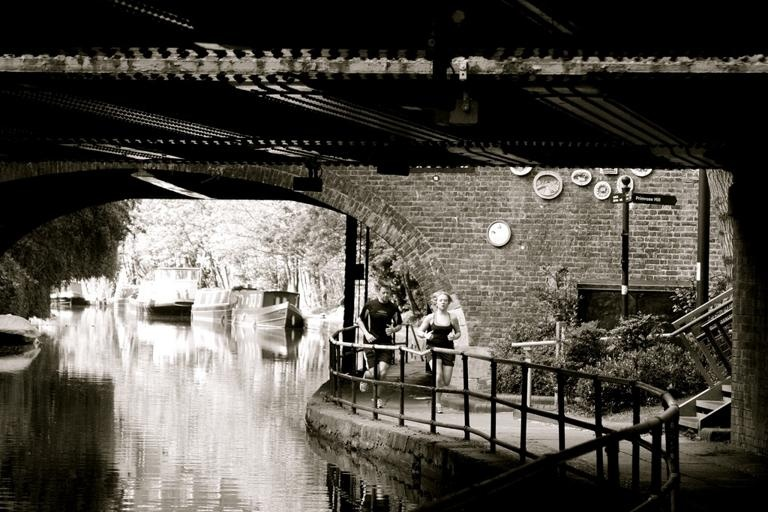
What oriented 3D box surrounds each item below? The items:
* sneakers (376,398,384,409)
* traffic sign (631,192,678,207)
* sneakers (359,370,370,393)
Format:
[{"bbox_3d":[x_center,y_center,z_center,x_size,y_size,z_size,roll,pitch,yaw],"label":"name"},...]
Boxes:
[{"bbox_3d":[-0.061,2.578,23.047,0.198,0.094,0.245,5,1,-6],"label":"sneakers"},{"bbox_3d":[4.916,-1.073,23.842,0.696,0.235,1.022,-2,-5,24],"label":"traffic sign"},{"bbox_3d":[-0.352,2.427,25.288,0.203,0.576,0.229,1,0,-7],"label":"sneakers"}]
